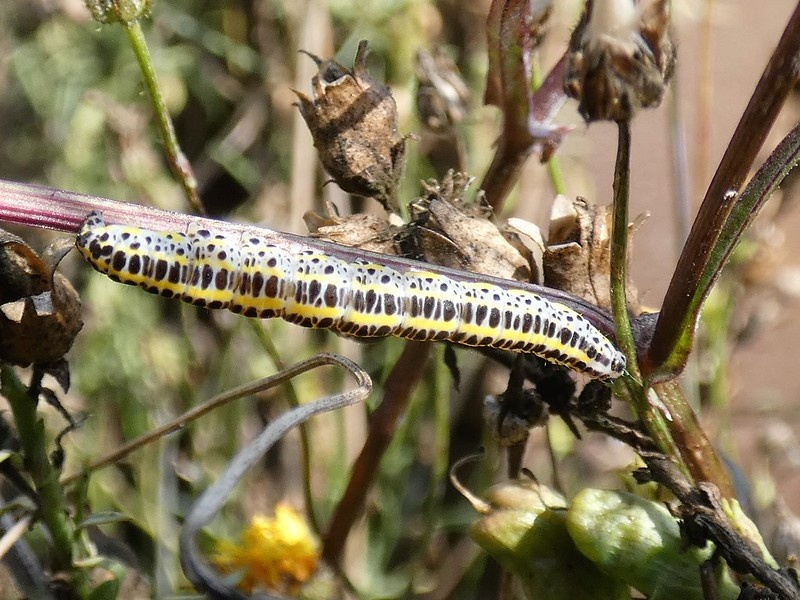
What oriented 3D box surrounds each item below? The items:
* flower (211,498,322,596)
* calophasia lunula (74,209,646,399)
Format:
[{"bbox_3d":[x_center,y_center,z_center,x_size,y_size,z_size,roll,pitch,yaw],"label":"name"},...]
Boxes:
[{"bbox_3d":[-0.178,0.343,1.356,0.151,0.100,0.101,13,3,11],"label":"flower"},{"bbox_3d":[-0.048,0.014,1.319,0.720,0.124,0.175,13,-6,-14],"label":"calophasia lunula"}]
